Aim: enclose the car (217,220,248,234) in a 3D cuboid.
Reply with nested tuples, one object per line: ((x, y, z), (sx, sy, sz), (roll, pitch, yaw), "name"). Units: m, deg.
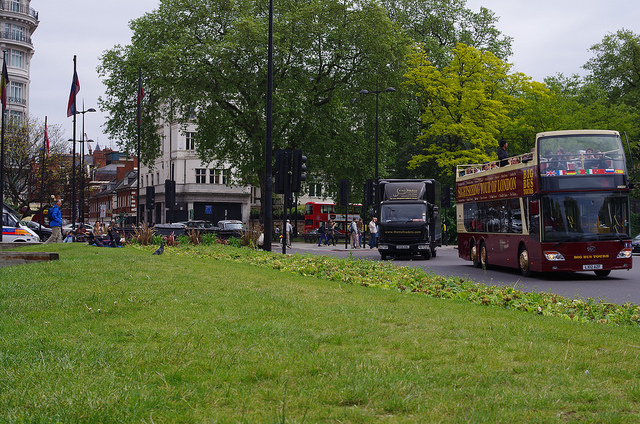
((-5.519, 0.941, 48.100), (1.590, 1.294, 2.571), (0, -5, -22), "car")

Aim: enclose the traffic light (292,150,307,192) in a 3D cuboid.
((-0.640, -1.496, 25.197), (0.622, 1.287, 0.657), (3, 5, -5), "traffic light")

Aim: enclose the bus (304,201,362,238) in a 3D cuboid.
((1.605, 0.828, 68.766), (6.112, 3.502, 1.814), (2, -2, -35), "bus")

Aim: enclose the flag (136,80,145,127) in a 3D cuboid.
((-10.474, -6.508, 43.106), (0.405, 2.211, 4.221), (0, 7, -15), "flag")

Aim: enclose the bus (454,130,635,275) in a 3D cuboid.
((6.940, -0.364, 26.320), (2.882, 5.395, 8.882), (-1, 7, -24), "bus")

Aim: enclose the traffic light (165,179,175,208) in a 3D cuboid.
((-6.281, -0.779, 31.183), (0.350, 1.176, 1.260), (0, 7, -12), "traffic light")

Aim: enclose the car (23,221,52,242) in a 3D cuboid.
((-16.018, 1.105, 41.766), (2.298, 1.152, 1.138), (0, 0, 7), "car")

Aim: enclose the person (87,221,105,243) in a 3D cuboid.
((-10.408, 0.941, 34.339), (0.497, 0.766, 1.736), (3, 7, -1), "person")

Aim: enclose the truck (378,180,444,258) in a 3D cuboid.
((4.250, 0.455, 33.080), (2.288, 3.900, 3.686), (6, 8, 35), "truck")

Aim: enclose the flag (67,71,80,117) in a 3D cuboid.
((-13.459, -6.600, 40.184), (0.599, 2.345, 2.071), (-1, 7, -19), "flag")

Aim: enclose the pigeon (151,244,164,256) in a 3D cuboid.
((-4.885, 1.194, 22.288), (0.420, 0.328, 0.155), (-16, -6, 26), "pigeon")
